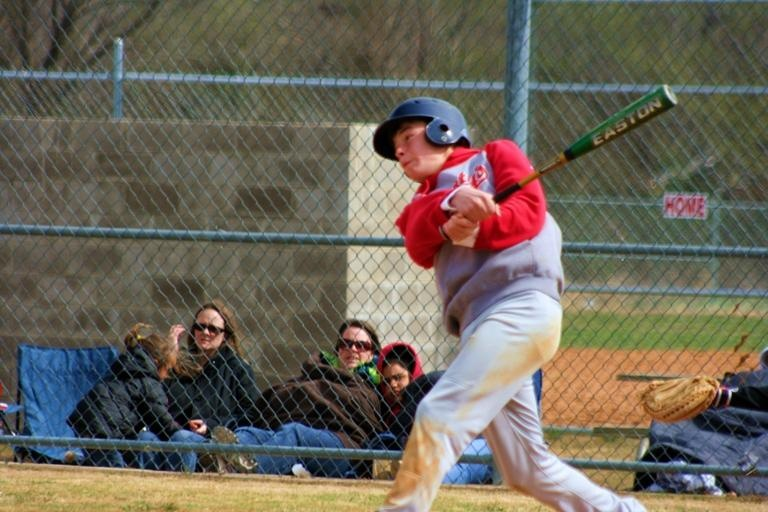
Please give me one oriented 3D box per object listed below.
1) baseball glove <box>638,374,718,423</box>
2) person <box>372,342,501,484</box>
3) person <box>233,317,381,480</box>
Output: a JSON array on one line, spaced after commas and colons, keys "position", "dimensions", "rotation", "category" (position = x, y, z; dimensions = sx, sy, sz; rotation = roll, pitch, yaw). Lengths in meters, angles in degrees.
[{"position": [2.647, 1.275, 13.521], "dimensions": [0.506, 0.268, 0.422], "rotation": [-18, 33, -4], "category": "baseball glove"}, {"position": [0.491, 1.522, 15.080], "dimensions": [1.481, 0.700, 1.248], "rotation": [35, -30, -26], "category": "person"}, {"position": [-0.555, 1.370, 14.550], "dimensions": [1.423, 1.841, 1.024], "rotation": [19, -21, -26], "category": "person"}]
